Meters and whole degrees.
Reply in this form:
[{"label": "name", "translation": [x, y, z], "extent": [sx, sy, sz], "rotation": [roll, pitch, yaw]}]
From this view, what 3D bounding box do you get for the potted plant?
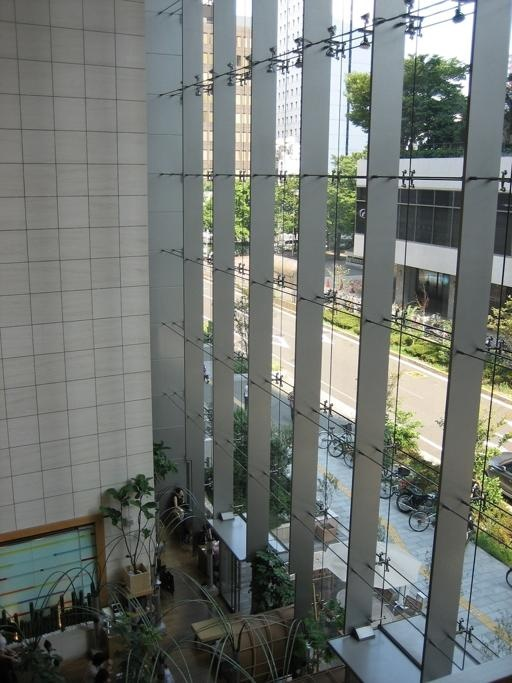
[{"label": "potted plant", "translation": [-1.853, 2.907, 8.736], "extent": [0.888, 1.740, 0.778], "rotation": [-7, 15, -26]}]
